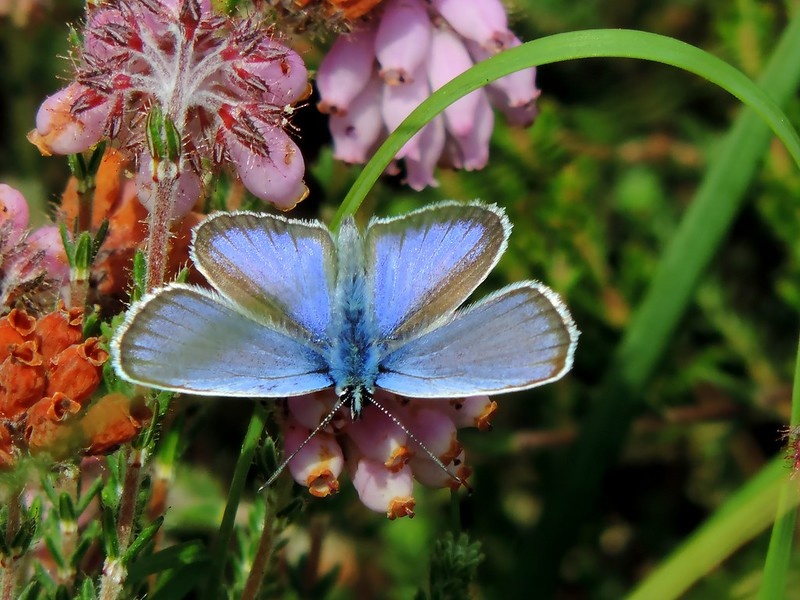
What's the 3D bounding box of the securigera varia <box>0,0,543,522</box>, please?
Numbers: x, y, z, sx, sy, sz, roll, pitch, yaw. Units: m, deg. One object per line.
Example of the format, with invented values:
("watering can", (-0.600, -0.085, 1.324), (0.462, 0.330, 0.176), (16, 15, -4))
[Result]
("securigera varia", (-0.257, -0.070, 2.488), (1.104, 0.488, 1.221), (1, 99, 4))
